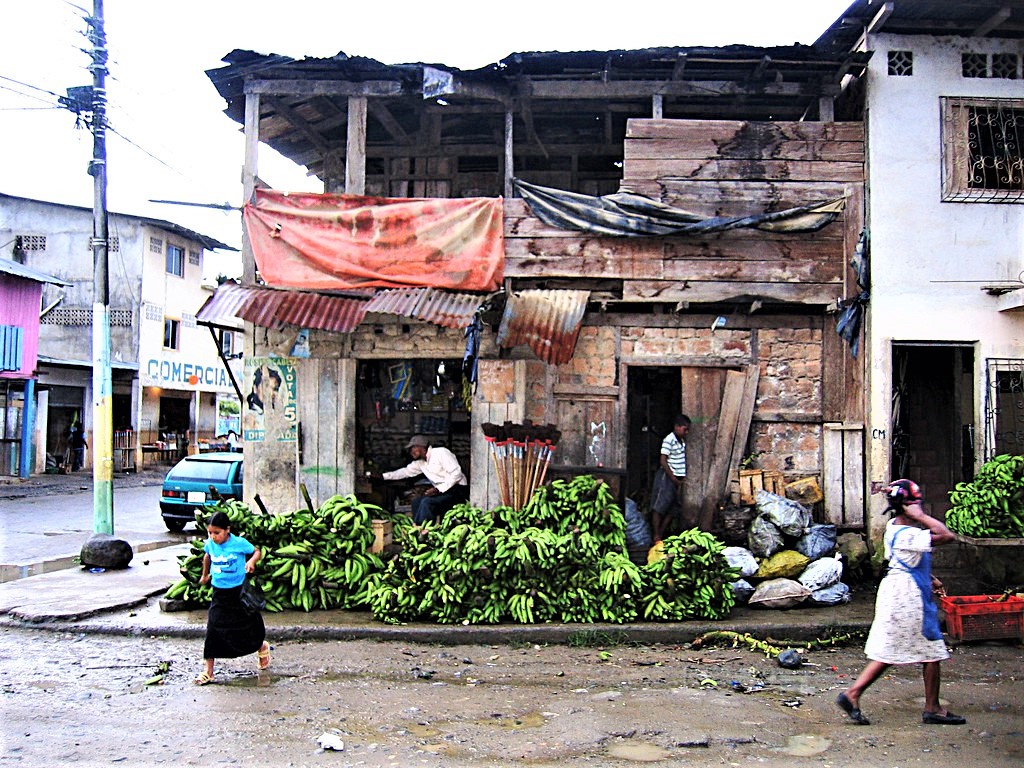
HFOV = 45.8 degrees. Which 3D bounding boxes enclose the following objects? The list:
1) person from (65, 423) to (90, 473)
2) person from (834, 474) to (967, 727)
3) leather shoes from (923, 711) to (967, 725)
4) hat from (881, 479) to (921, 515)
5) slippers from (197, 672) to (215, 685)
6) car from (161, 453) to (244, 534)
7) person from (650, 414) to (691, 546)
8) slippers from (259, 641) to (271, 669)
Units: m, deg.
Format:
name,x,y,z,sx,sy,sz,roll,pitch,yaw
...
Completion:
name,x,y,z,sx,sy,sz,roll,pitch,yaw
person,-12.359,1.768,34.537,0.408,1.432,0.706,0,-4,-19
person,4.210,2.325,12.985,1.189,2.560,0.499,-2,-4,16
leather shoes,4.597,3.533,12.808,0.418,0.133,0.152,-1,-4,5
hat,4.283,1.193,13.174,0.417,0.388,0.415,-18,-7,19
slippers,-3.467,3.333,13.743,0.204,0.137,0.232,0,-4,-16
car,-5.593,2.022,21.756,1.414,1.060,2.324,0,3,18
person,2.271,1.320,16.999,0.578,1.760,0.417,-1,-4,3
slippers,-2.872,3.159,14.116,0.104,0.283,0.092,1,6,23
